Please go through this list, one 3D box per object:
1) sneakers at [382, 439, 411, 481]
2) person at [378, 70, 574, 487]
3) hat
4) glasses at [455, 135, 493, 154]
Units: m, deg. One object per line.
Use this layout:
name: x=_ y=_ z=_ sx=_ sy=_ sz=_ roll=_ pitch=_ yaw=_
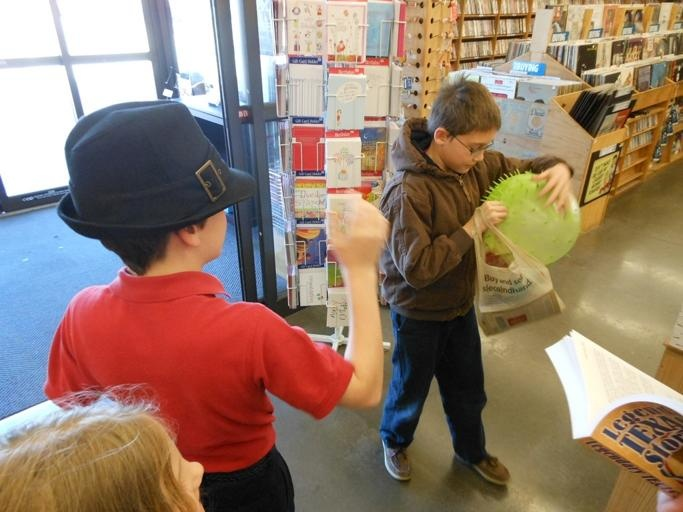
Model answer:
sneakers: x=0.322 y=1.123 z=2.691 sx=0.115 sy=0.113 sz=0.318 roll=1 pitch=12 yaw=-5
person: x=0.588 y=0.259 z=2.295 sx=0.887 sy=2.034 sz=0.741 roll=2 pitch=20 yaw=21
hat: x=-0.524 y=-0.262 z=1.308 sx=0.531 sy=0.288 sz=0.456 roll=-20 pitch=33 yaw=-21
glasses: x=0.566 y=-0.473 z=2.037 sx=0.105 sy=0.035 sz=0.104 roll=-22 pitch=40 yaw=-25
